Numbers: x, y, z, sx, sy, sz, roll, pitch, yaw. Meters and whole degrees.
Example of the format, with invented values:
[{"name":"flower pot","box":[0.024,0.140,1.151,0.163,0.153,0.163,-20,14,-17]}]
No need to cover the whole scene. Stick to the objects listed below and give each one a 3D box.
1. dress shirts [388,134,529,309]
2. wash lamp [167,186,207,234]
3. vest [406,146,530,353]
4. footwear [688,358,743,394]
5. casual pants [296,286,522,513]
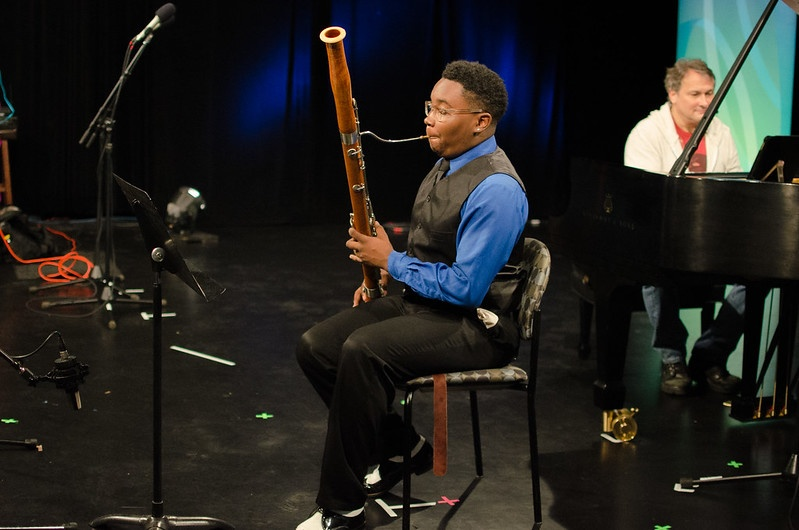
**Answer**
[{"name":"dress shirts","box":[0.243,-0.265,3.652,0.578,0.665,0.737,4,16,-3]},{"name":"wash lamp","box":[-2.135,-0.542,8.043,0.357,0.432,0.183,-4,9,-25]},{"name":"vest","box":[0.262,-0.156,3.867,0.519,0.853,0.688,2,14,-35]},{"name":"footwear","box":[1.881,0.652,4.956,0.340,0.217,0.147,8,15,35]},{"name":"casual pants","box":[0.041,0.583,3.828,1.024,0.889,0.683,-1,-3,-24]}]
